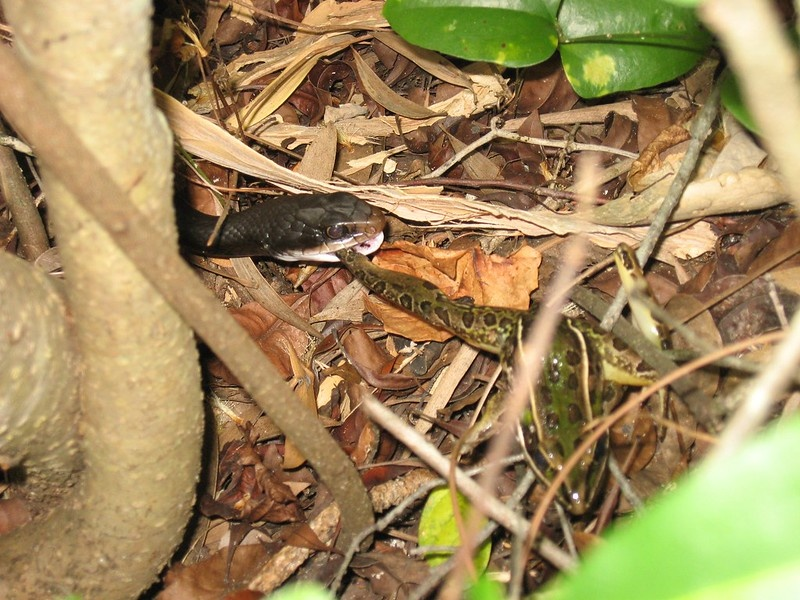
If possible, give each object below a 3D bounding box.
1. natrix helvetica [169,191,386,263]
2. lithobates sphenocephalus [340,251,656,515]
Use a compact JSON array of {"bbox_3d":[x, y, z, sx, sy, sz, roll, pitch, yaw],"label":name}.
[{"bbox_3d":[-0.536,-0.323,3.369,0.927,0.318,0.294,0,56,-3],"label":"natrix helvetica"},{"bbox_3d":[0.347,0.136,2.710,1.203,0.798,0.640,36,61,20],"label":"lithobates sphenocephalus"}]
